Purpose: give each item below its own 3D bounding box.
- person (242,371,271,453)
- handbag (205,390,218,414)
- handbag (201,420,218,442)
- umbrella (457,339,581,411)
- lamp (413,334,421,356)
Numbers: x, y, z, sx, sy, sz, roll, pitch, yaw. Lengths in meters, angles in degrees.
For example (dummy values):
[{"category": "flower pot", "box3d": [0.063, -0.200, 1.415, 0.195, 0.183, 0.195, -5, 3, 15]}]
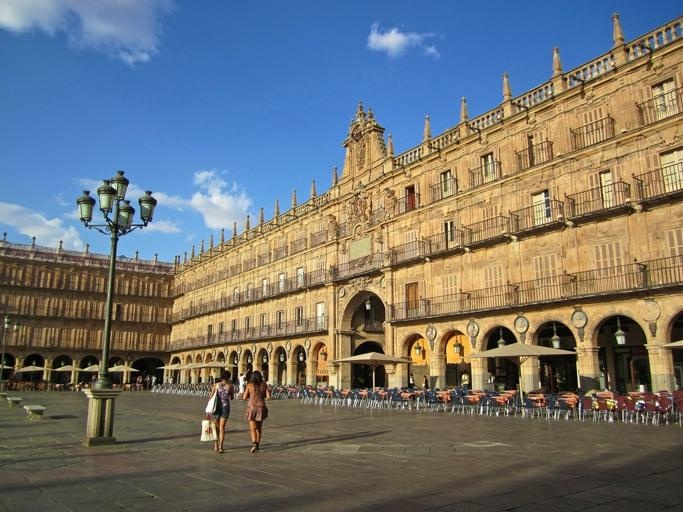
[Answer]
[{"category": "person", "box3d": [-2.101, 3.741, 13.232, 0.617, 1.858, 1.364, 3, -17, -7]}, {"category": "handbag", "box3d": [-3.122, 3.484, 12.986, 0.330, 0.587, 0.234, -13, -22, 37]}, {"category": "handbag", "box3d": [-3.189, 4.146, 13.023, 0.236, 0.458, 0.687, 11, -19, -29]}, {"category": "umbrella", "box3d": [7.278, 4.642, 21.971, 3.771, 2.310, 3.466, -1, -10, -6]}, {"category": "lamp", "box3d": [4.395, 5.148, 31.475, 0.417, 1.081, 0.826, -1, -17, 5]}]
